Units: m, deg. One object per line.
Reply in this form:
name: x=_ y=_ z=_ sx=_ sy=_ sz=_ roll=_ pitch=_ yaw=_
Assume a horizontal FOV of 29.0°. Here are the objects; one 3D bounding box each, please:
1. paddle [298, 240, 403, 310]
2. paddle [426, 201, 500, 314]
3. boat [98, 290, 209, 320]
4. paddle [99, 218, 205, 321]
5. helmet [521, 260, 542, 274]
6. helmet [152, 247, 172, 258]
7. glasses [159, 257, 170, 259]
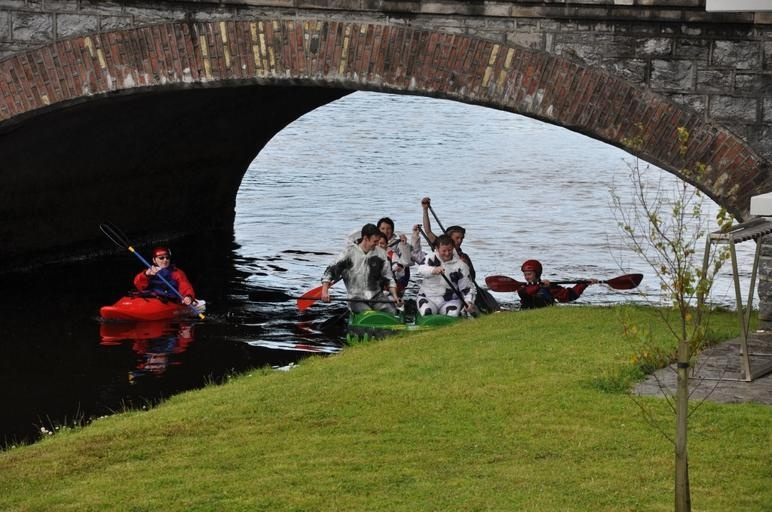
paddle: x=-0.623 y=0.389 z=26.993 sx=0.279 sy=0.467 sz=3.648 roll=-21 pitch=3 yaw=40
paddle: x=1.296 y=0.063 z=26.716 sx=0.859 sy=2.662 sz=0.342 roll=-39 pitch=31 yaw=-22
boat: x=-4.340 y=0.958 z=27.000 sx=1.456 sy=0.243 sz=0.704 roll=-1 pitch=7 yaw=-32
paddle: x=-4.769 y=0.309 z=29.861 sx=0.344 sy=3.303 sz=0.148 roll=-53 pitch=0 yaw=1
helmet: x=2.682 y=0.209 z=27.483 sx=0.342 sy=0.214 sz=0.408 roll=-5 pitch=2 yaw=3
helmet: x=-4.102 y=-0.105 z=27.280 sx=0.301 sy=0.183 sz=0.274 roll=-1 pitch=-9 yaw=-9
glasses: x=-4.022 y=0.030 z=27.136 sx=0.146 sy=0.041 sz=0.051 roll=-6 pitch=2 yaw=-39
